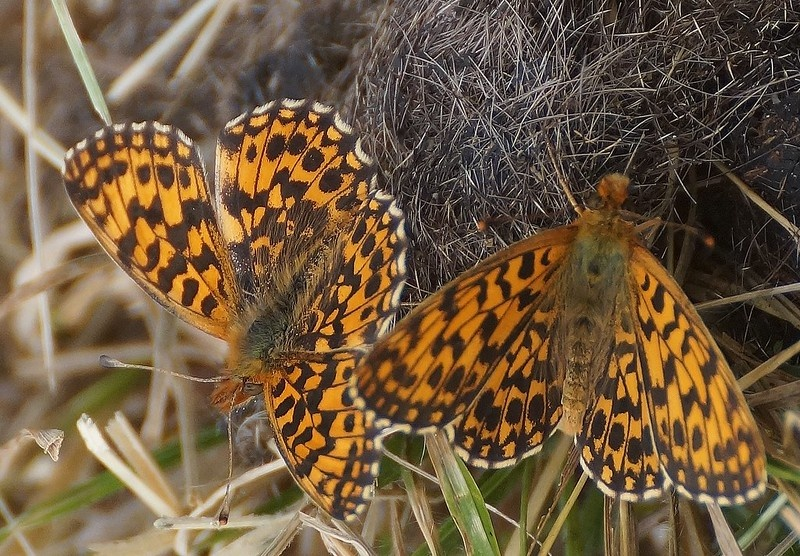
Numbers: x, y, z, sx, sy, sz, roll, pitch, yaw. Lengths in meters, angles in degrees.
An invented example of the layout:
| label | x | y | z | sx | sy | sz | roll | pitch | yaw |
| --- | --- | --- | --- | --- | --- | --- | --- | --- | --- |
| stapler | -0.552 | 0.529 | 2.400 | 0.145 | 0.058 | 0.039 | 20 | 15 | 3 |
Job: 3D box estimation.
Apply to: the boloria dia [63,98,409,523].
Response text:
| label | x | y | z | sx | sy | sz | roll | pitch | yaw |
| --- | --- | --- | --- | --- | --- | --- | --- | --- | --- |
| boloria dia | -0.248 | -0.028 | 1.744 | 0.671 | 0.293 | 0.508 | 26 | 64 | 17 |
